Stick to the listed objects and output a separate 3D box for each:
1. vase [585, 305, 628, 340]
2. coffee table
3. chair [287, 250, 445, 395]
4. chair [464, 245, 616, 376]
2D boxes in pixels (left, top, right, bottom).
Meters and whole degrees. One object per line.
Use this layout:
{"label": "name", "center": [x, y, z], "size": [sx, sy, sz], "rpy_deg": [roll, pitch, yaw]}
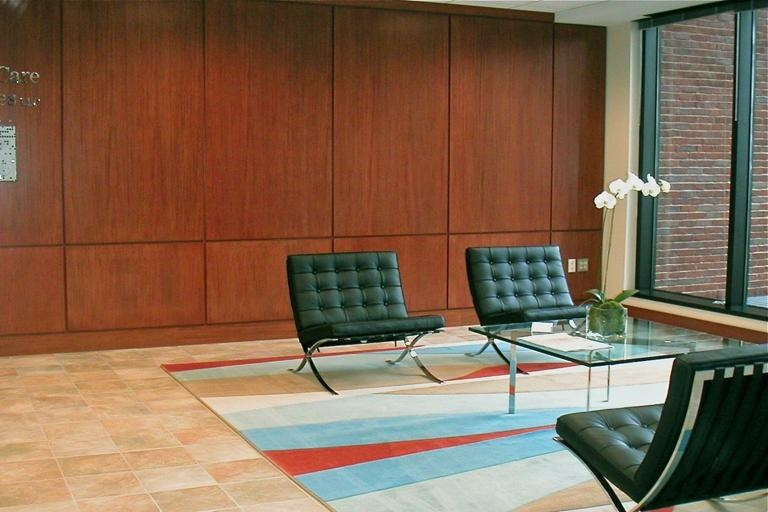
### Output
{"label": "vase", "center": [1.773, 0.517, 4.499], "size": [0.387, 0.187, 0.380], "rpy_deg": [-3, 2, -44]}
{"label": "coffee table", "center": [1.759, 0.652, 4.243], "size": [1.573, 0.438, 1.260], "rpy_deg": [0, 3, -21]}
{"label": "chair", "center": [-0.310, 0.561, 5.558], "size": [2.044, 1.132, 1.544], "rpy_deg": [0, 1, -31]}
{"label": "chair", "center": [1.610, 0.466, 5.762], "size": [1.205, 1.009, 1.571], "rpy_deg": [15, 10, 39]}
